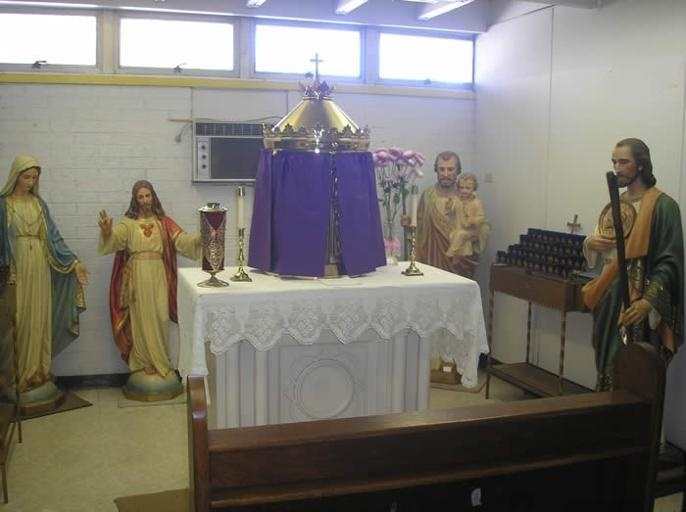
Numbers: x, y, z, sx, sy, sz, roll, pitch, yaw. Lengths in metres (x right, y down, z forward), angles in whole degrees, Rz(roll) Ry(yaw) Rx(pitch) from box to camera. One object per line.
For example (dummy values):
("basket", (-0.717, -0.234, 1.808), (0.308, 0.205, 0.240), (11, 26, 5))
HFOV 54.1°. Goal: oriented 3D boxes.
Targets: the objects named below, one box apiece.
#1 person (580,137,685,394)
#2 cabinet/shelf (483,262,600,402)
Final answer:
("person", (2.214, 0.087, 4.990), (0.563, 1.898, 0.653), (-1, 11, -11))
("cabinet/shelf", (1.749, 0.659, 5.799), (0.428, 1.208, 1.124), (-3, 7, -18))
